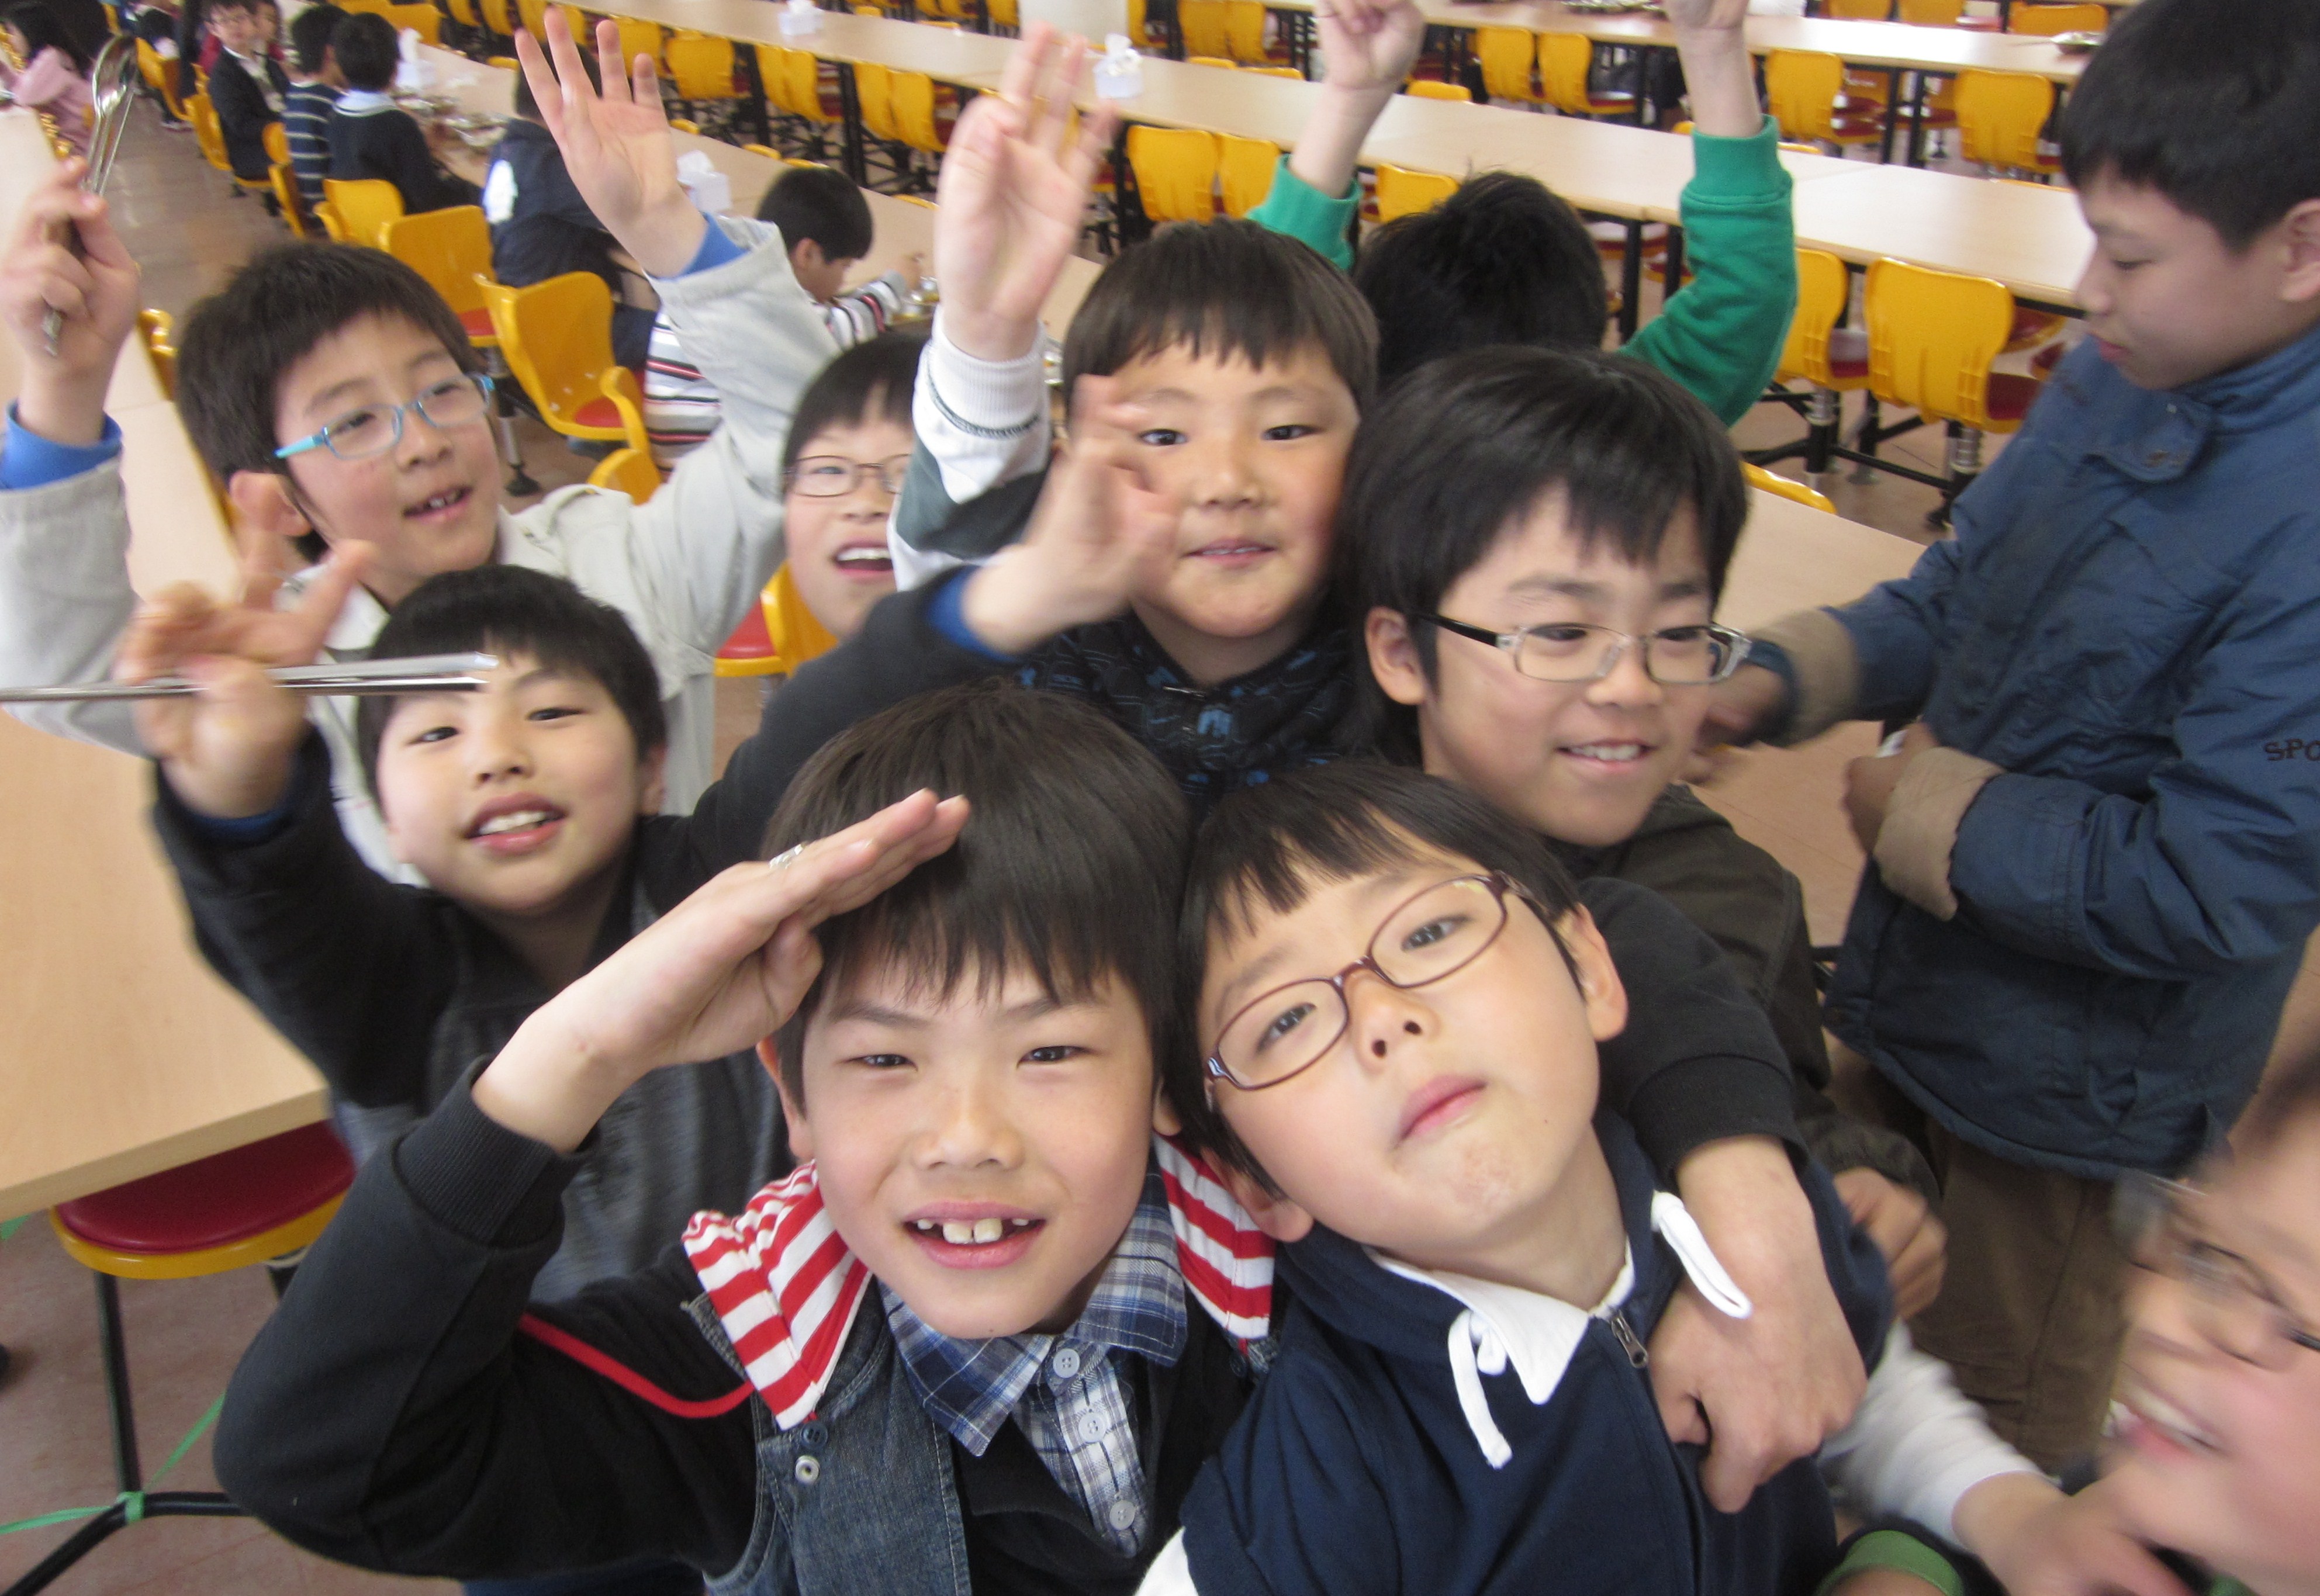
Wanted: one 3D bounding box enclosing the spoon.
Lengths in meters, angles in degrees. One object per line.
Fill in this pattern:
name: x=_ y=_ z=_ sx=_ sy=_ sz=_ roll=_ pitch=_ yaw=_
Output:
spoon: x=-0.731 y=-0.382 z=1.207 sx=0.051 sy=0.259 sz=0.037 roll=13 pitch=8 yaw=-9
